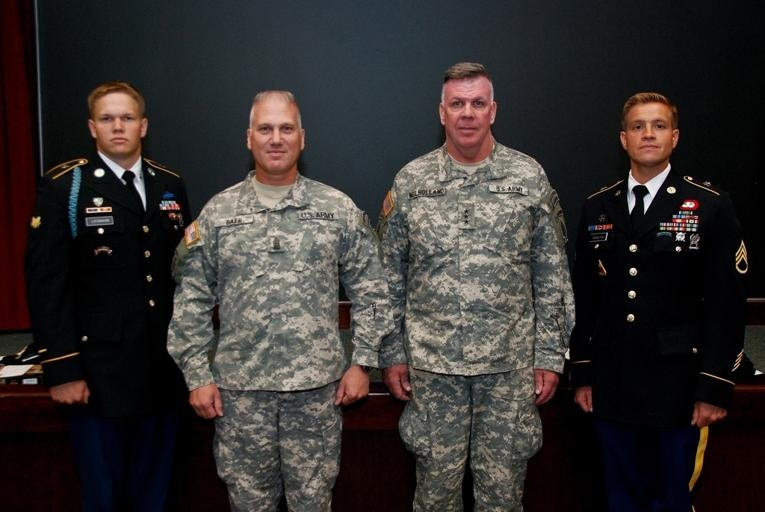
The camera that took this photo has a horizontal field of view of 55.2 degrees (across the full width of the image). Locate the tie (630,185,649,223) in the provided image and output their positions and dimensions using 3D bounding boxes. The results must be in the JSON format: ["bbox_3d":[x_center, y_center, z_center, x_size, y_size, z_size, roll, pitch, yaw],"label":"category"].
[{"bbox_3d":[1.168,-0.236,3.357,0.077,0.172,0.048,4,-9,20],"label":"tie"}]

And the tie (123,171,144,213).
[{"bbox_3d":[-1.158,-0.313,3.428,0.065,0.240,0.034,-25,-19,-27],"label":"tie"}]
